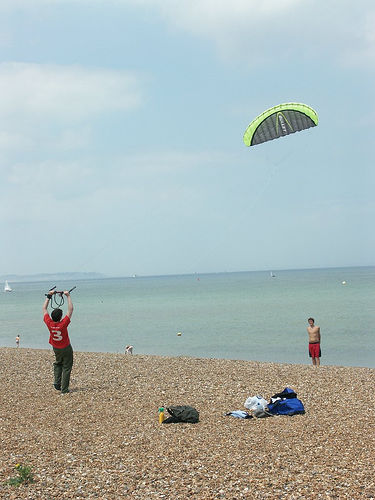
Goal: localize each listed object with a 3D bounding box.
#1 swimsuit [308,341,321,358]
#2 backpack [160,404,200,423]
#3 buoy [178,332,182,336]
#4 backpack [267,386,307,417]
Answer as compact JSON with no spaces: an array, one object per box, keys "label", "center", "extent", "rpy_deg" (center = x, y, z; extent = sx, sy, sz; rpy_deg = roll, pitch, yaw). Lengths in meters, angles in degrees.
[{"label":"swimsuit","center":[3.054,2.406,18.630],"extent":[0.241,0.411,0.450],"rpy_deg":[-4,0,4]},{"label":"backpack","center":[-0.087,2.538,11.988],"extent":[0.551,0.255,0.537],"rpy_deg":[-4,0,5]},{"label":"buoy","center":[-0.359,3.892,35.735],"extent":[0.124,0.114,0.126],"rpy_deg":[5,9,41]},{"label":"backpack","center":[1.589,2.462,12.456],"extent":[0.626,0.418,0.925],"rpy_deg":[-4,0,4]}]
